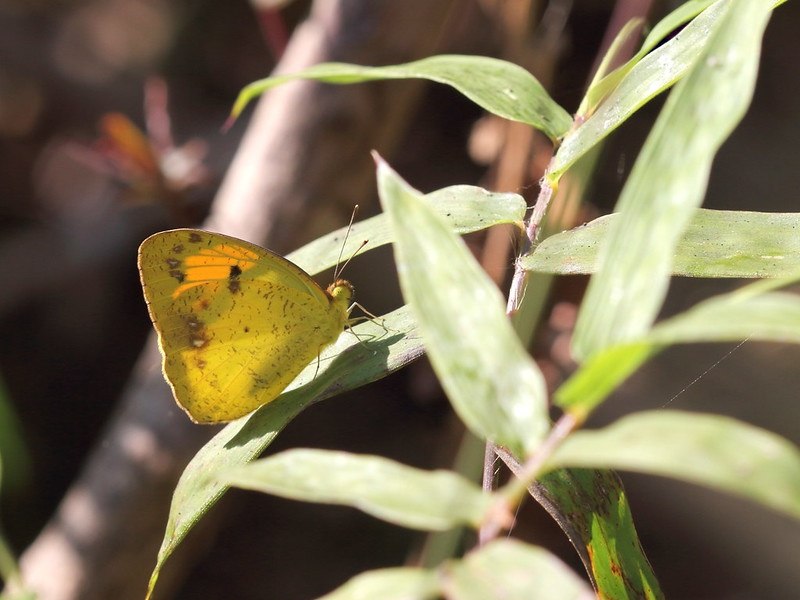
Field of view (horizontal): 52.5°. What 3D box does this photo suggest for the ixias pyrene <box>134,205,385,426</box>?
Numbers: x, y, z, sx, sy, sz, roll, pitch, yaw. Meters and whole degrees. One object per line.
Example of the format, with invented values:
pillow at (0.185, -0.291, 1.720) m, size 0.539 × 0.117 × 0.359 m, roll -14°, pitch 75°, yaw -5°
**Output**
ixias pyrene at (-0.293, 0.027, 1.570) m, size 0.385 × 0.271 × 0.415 m, roll -39°, pitch 16°, yaw 1°
